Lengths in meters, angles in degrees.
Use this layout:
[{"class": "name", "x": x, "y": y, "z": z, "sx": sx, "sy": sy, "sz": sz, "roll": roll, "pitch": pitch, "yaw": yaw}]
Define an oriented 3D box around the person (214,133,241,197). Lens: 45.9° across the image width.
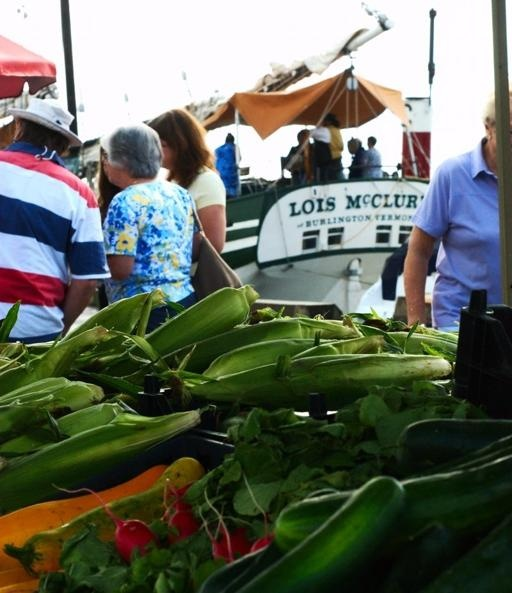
[{"class": "person", "x": -0.362, "y": -1.791, "z": 8.399, "sx": 0.402, "sy": 0.865, "sz": 0.284, "roll": -5, "pitch": -3, "yaw": 20}]
